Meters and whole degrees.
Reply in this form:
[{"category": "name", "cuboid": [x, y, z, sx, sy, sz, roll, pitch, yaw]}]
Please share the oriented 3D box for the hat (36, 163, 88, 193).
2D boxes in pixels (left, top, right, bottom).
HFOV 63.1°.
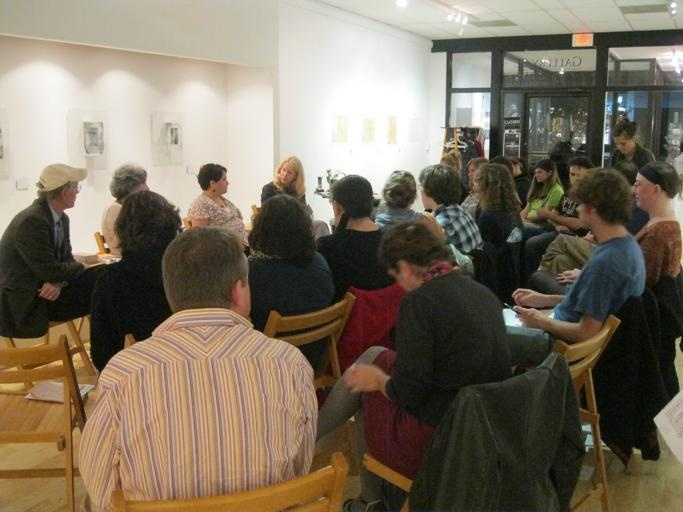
[{"category": "hat", "cuboid": [-1.648, -0.514, 3.689, 0.248, 0.137, 0.177, -22, 33, -33]}]
